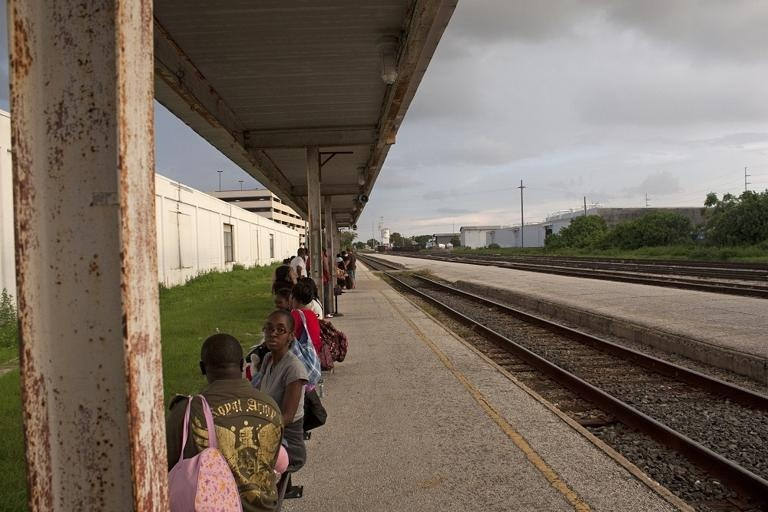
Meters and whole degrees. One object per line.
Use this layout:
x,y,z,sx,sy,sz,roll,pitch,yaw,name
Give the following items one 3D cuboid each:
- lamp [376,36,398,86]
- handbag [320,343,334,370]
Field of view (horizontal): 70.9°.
0.068,-2.771,7.845,0.281,0.687,0.769,-4,-1,1,lamp
-0.676,1.196,6.336,0.077,0.276,0.164,-17,-12,34,handbag
